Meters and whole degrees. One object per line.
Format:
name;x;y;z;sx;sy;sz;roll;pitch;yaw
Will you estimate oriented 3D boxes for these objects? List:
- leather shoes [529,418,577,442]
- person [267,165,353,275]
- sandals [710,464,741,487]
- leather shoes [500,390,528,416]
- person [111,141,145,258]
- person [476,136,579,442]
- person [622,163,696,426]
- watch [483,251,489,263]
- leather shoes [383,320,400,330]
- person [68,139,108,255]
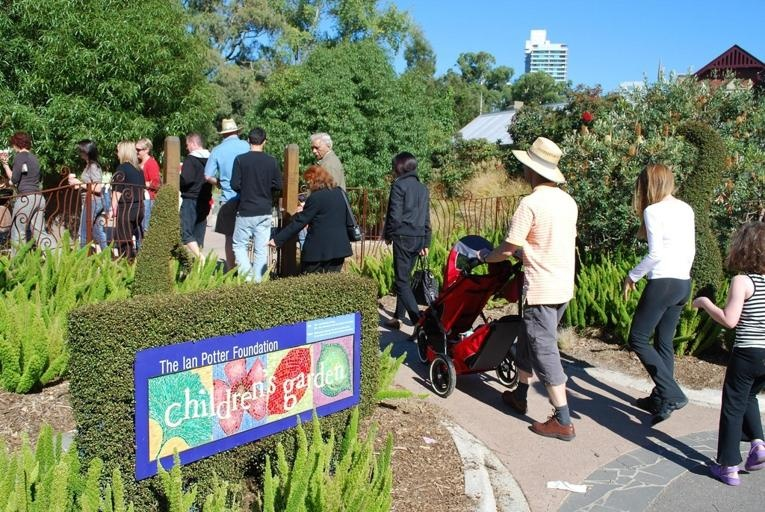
leather shoes;1.868;1.883;8.165;0.467;0.284;0.199;7;6;28
person;-0.792;-0.457;9.168;0.891;1.341;0.407;2;4;-5
sandals;3.442;2.178;7.448;0.135;0.164;0.307;-9;19;-20
leather shoes;1.528;1.664;8.496;0.152;0.197;0.369;-9;28;-28
person;-4.032;-0.919;11.779;0.496;1.874;0.907;1;4;-19
person;1.721;0.331;8.125;0.861;3.267;0.552;3;4;15
person;3.089;0.415;8.384;0.714;2.929;0.587;3;4;19
watch;1.159;-0.008;8.287;0.032;0.099;0.074;7;2;-21
leather shoes;0.137;0.977;10.780;0.235;0.116;0.114;15;17;43
person;-4.798;-0.952;12.197;0.637;2.067;0.590;5;22;-13
